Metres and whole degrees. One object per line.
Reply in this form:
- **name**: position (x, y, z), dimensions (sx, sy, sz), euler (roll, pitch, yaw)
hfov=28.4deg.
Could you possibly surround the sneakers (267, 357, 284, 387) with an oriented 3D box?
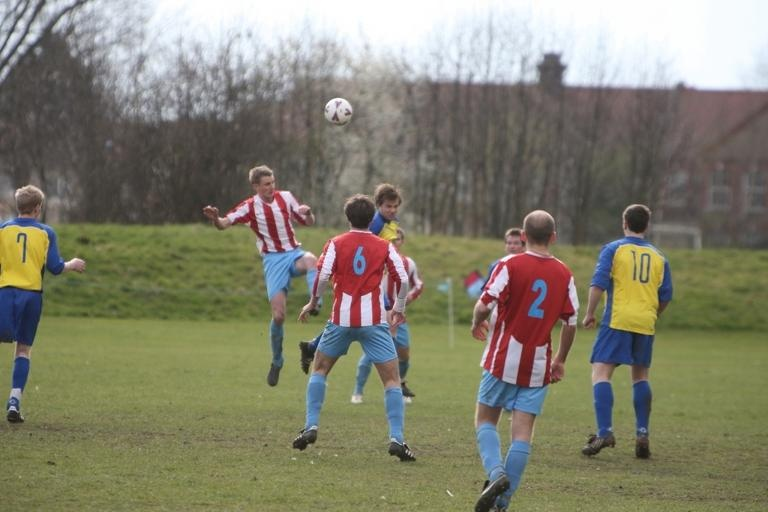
- **sneakers**: position (-1.732, 1.845, 24.332), dimensions (0.206, 0.402, 0.233), euler (3, 0, -5)

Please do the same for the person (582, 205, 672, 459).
- **person**: position (3.638, 1.071, 22.672), dimensions (1.309, 3.788, 0.854), euler (3, 1, -29)

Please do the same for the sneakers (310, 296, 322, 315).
- **sneakers**: position (-1.050, 0.708, 22.650), dimensions (0.088, 0.268, 0.204), euler (27, 15, 25)

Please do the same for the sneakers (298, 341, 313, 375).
- **sneakers**: position (-1.200, 1.579, 23.879), dimensions (0.282, 0.534, 0.186), euler (-2, 15, 3)

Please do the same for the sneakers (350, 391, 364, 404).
- **sneakers**: position (-0.411, 2.262, 24.457), dimensions (0.174, 0.149, 0.366), euler (2, -6, -9)

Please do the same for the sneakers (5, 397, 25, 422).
- **sneakers**: position (-5.464, 2.270, 22.620), dimensions (0.236, 0.357, 0.180), euler (3, 0, -14)

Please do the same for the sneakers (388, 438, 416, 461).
- **sneakers**: position (0.250, 2.804, 21.975), dimensions (0.502, 0.207, 0.194), euler (17, -13, -36)

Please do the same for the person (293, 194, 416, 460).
- **person**: position (-0.372, 0.995, 22.252), dimensions (1.591, 3.753, 0.769), euler (3, 0, -2)
